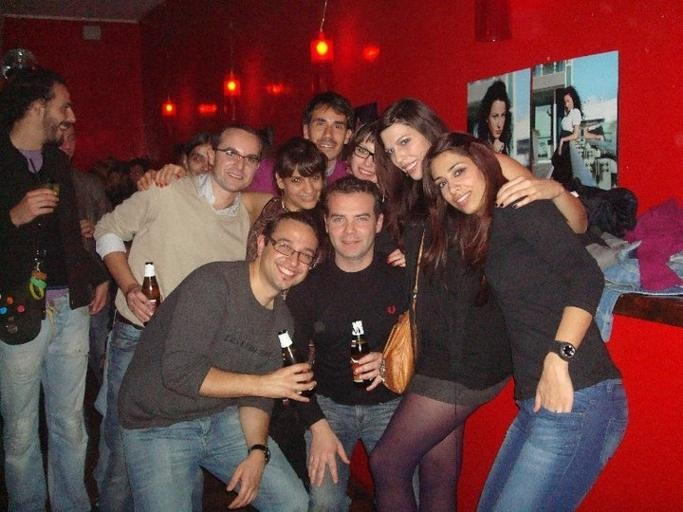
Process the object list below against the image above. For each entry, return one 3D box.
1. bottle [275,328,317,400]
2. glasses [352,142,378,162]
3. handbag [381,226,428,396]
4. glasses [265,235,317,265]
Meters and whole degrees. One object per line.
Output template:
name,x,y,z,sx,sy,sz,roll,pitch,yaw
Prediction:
bottle,-0.276,0.649,3.232,0.177,0.492,0.294,2,7,13
glasses,0.161,-0.760,3.995,0.129,0.039,0.129,22,4,-37
handbag,0.410,0.337,3.253,0.311,0.911,0.191,-4,8,-27
glasses,-0.277,-0.051,3.118,0.174,0.056,0.179,31,-6,-26
